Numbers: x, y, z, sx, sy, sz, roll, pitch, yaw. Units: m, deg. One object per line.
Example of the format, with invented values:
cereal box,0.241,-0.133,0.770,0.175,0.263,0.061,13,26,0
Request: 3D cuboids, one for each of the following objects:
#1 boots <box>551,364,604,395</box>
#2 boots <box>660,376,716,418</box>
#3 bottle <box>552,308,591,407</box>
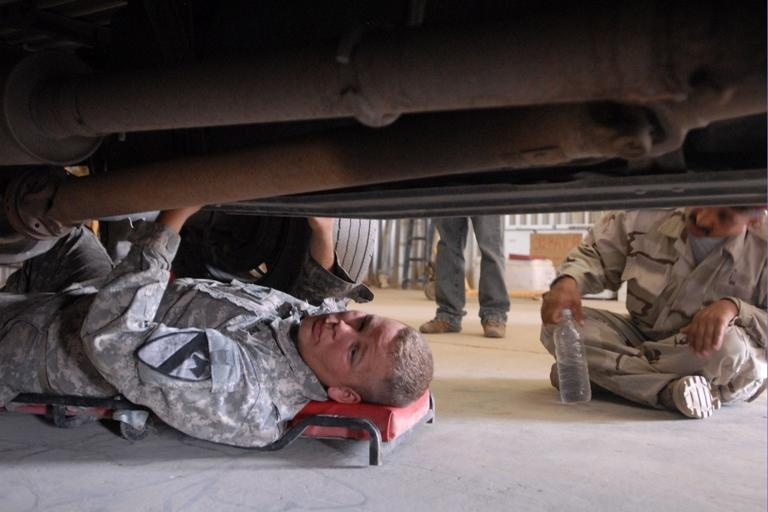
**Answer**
boots,0.779,0.487,2.397,0.173,0.064,0.131,2,2,20
boots,1.083,0.493,2.105,0.148,0.139,0.128,0,2,-18
bottle,0.727,0.380,2.285,0.140,0.340,0.197,1,2,15
